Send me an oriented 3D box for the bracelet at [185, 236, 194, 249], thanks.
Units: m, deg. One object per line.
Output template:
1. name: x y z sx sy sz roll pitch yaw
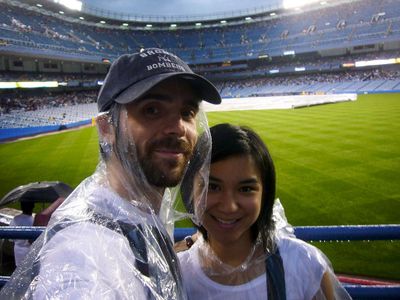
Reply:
1. bracelet: -0.086 0.804 2.832 0.060 0.098 0.024 -14 5 -18

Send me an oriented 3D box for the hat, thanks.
1. hat: -0.324 -0.553 2.484 0.702 0.445 0.558 -18 -5 30
